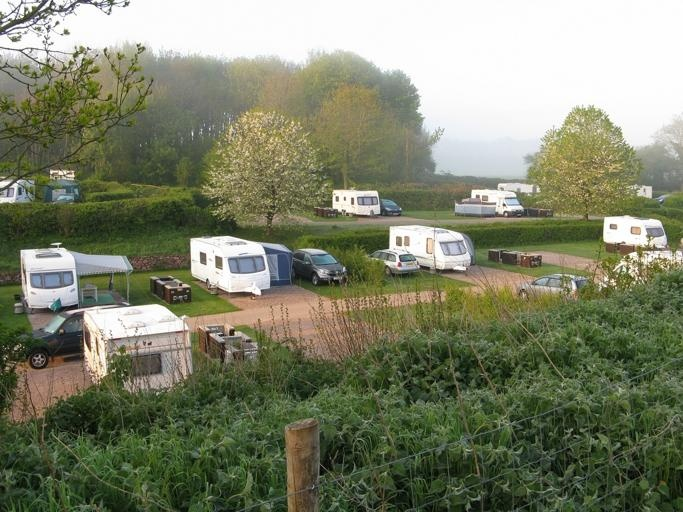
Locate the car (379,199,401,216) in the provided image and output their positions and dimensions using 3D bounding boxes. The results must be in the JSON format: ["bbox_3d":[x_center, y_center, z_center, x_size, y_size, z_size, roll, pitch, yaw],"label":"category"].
[{"bbox_3d":[3.875,-4.017,52.654,1.009,0.947,1.803,-4,5,-21],"label":"car"}]

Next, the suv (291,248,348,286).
[{"bbox_3d":[-0.847,0.440,25.697,1.073,1.058,2.532,-3,7,-28],"label":"suv"}]

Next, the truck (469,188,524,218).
[{"bbox_3d":[13.495,-4.556,54.388,2.203,2.834,5.489,-6,8,-33],"label":"truck"}]

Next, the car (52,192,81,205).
[{"bbox_3d":[-17.791,-3.690,40.327,1.014,0.853,2.328,-1,15,-10],"label":"car"}]

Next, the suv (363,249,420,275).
[{"bbox_3d":[2.170,0.200,26.941,0.913,0.791,2.093,-3,11,-32],"label":"suv"}]

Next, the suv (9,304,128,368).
[{"bbox_3d":[-6.804,2.130,15.828,2.834,1.538,1.390,0,1,-33],"label":"suv"}]
